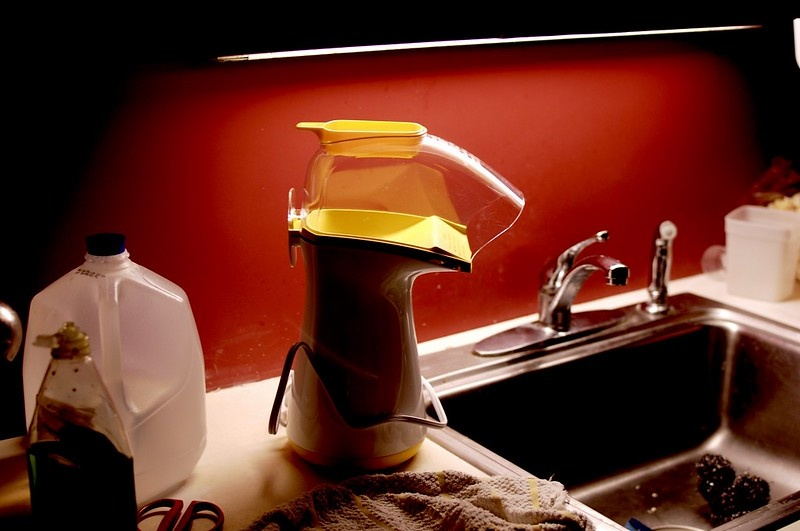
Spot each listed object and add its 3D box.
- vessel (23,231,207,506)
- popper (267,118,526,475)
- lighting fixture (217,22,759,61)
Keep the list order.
[{"bbox_3d":[-0.421,0.160,1.096,0.290,0.420,0.217,-6,19,-7],"label":"vessel"},{"bbox_3d":[0.002,0.040,1.132,0.395,0.544,0.299,-1,18,9],"label":"popper"},{"bbox_3d":[-0.034,-0.528,1.680,0.019,0.020,1.778,-21,24,-35],"label":"lighting fixture"}]
